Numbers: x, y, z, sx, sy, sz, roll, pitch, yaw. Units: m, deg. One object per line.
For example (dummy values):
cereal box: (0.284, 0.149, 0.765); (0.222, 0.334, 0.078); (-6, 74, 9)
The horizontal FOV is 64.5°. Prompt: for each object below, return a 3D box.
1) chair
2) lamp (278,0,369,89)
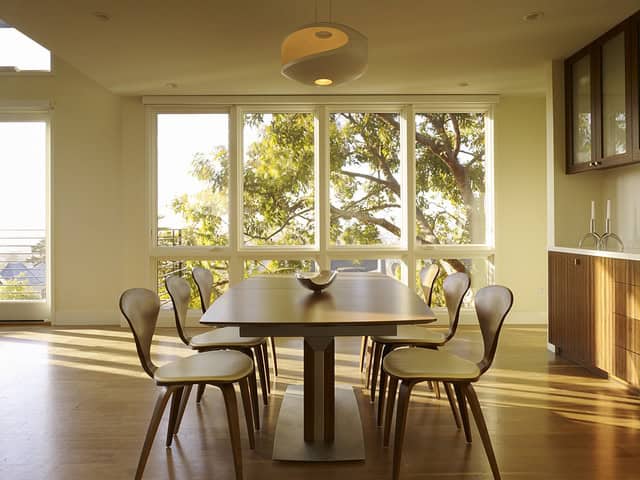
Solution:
chair: (0.088, 0.919, 3.785); (2.410, 1.258, 1.178); (0, 11, 1)
lamp: (0.018, -1.325, 3.613); (0.534, 0.682, 0.469); (0, -2, 1)
